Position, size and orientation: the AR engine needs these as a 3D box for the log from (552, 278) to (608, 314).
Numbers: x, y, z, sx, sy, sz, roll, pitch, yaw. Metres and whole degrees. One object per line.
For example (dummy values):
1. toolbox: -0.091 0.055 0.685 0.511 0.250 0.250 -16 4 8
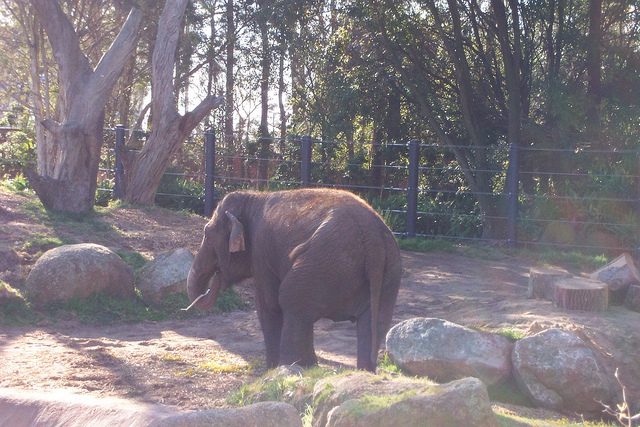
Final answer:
1. log: 4.262 1.374 13.595 0.874 0.553 0.447 5 0 14

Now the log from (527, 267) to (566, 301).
1. log: 3.746 1.200 13.974 0.459 0.425 0.511 1 -5 20

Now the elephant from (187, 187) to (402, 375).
1. elephant: -0.333 0.850 12.796 3.387 2.916 1.724 1 -4 39
